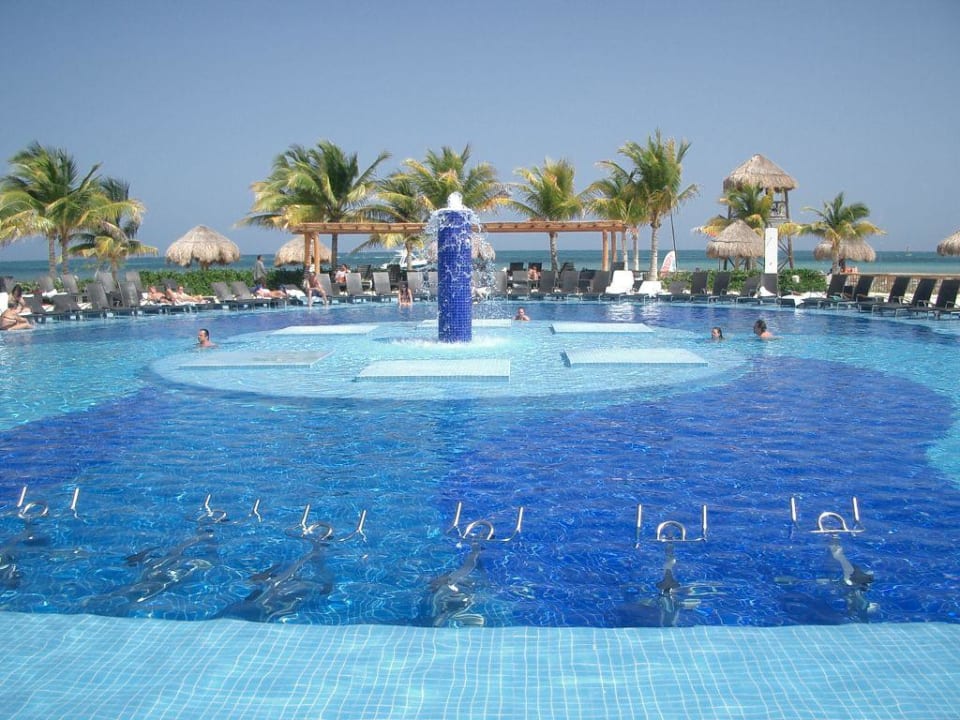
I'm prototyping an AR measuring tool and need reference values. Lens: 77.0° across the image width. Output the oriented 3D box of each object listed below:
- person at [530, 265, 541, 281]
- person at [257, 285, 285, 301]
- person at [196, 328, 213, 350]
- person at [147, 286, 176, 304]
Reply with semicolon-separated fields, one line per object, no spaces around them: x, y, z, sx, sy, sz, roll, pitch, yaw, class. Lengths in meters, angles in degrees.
2.735;-4.198;29.394;0.588;0.438;0.937;-1;11;4;person
-8.753;-2.772;25.111;1.294;0.457;1.578;-1;8;-20;person
-6.010;-0.471;13.132;0.328;0.409;0.724;-6;11;-24;person
-11.547;-2.320;21.761;0.740;0.588;2.104;-10;14;-41;person
